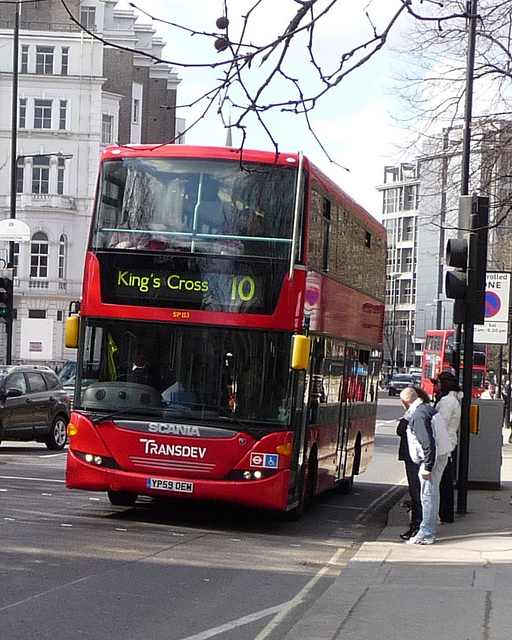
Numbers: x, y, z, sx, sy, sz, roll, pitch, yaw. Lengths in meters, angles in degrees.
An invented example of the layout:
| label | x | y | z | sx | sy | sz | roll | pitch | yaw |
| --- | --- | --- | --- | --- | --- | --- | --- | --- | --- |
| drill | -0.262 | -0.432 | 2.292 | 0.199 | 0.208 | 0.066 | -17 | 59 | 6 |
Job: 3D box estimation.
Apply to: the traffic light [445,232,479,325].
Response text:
| label | x | y | z | sx | sy | sz | roll | pitch | yaw |
| --- | --- | --- | --- | --- | --- | --- | --- | --- | --- |
| traffic light | 2.599 | -0.391 | 10.401 | 0.439 | 1.455 | 0.328 | 2 | 2 | 3 |

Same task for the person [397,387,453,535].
| label | x | y | z | sx | sy | sz | roll | pitch | yaw |
| --- | --- | --- | --- | --- | --- | --- | --- | --- | --- |
| person | 1.850 | 1.553 | 8.933 | 0.555 | 1.592 | 1.205 | 1 | -2 | 11 |
